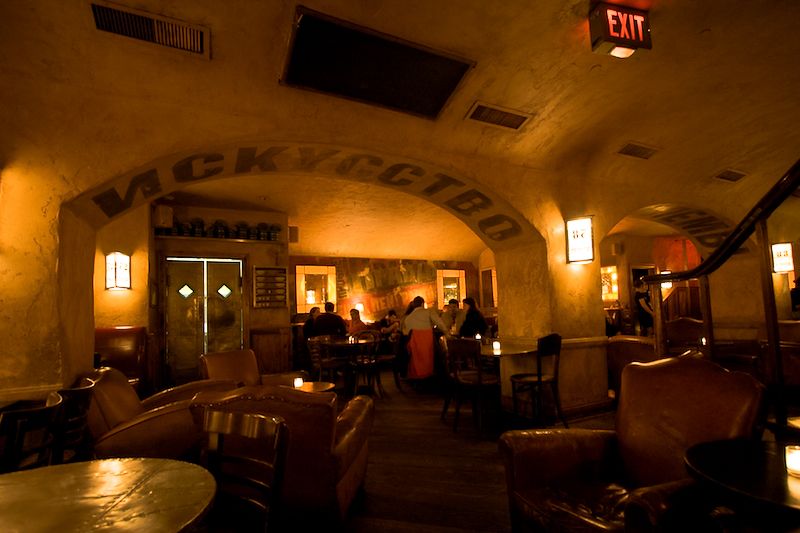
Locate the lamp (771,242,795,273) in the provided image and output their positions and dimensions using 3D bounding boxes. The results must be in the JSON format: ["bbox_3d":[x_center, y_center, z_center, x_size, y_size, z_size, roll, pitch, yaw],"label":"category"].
[{"bbox_3d":[6.037,-0.147,8.572,0.249,0.466,0.471,-5,-6,35],"label":"lamp"}]

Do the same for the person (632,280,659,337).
[{"bbox_3d":[3.120,0.563,6.905,0.385,0.399,1.236,-3,-16,27],"label":"person"}]

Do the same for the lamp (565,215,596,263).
[{"bbox_3d":[2.288,-0.328,6.923,0.344,0.573,0.234,-3,-6,21],"label":"lamp"}]

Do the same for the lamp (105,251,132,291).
[{"bbox_3d":[-4.086,0.066,7.887,0.339,0.509,0.345,2,-6,-29],"label":"lamp"}]
